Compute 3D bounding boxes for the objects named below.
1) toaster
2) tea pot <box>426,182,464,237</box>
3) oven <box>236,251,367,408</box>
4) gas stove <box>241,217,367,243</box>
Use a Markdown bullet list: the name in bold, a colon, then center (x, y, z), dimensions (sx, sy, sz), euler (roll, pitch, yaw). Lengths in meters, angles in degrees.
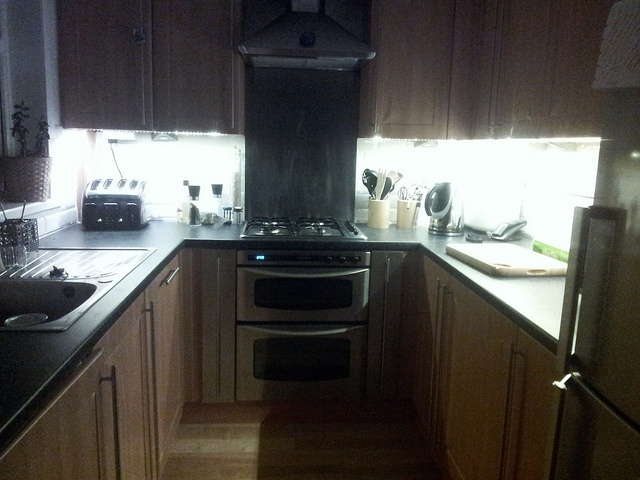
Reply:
- **toaster**: center (-1.139, -0.227, 2.989), dimensions (0.316, 0.285, 0.220), euler (0, 13, -6)
- **tea pot**: center (0.700, -0.176, 3.095), dimensions (0.272, 0.301, 0.166), euler (-7, 13, -30)
- **oven**: center (-0.082, 0.435, 3.323), dimensions (0.829, 1.174, 0.779), euler (0, 6, -4)
- **gas stove**: center (-0.099, -0.070, 3.146), dimensions (0.693, 0.057, 0.526), euler (-1, 11, -4)
